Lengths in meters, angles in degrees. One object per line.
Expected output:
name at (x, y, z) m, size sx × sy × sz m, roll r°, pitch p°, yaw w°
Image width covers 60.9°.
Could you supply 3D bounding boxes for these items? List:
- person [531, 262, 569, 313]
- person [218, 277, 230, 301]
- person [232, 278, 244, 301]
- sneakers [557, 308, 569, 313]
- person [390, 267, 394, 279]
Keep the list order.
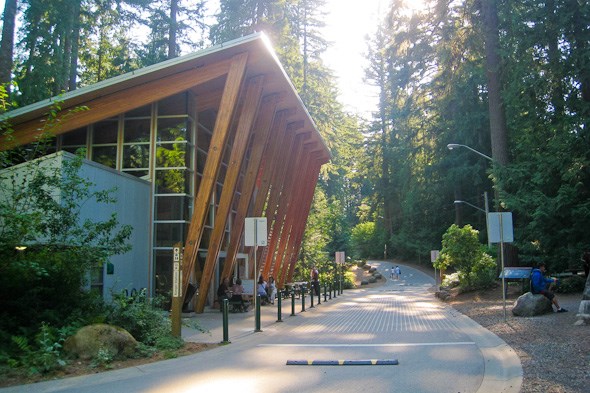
person at (10.222, 3.703, 20.439) m, size 1.149 × 2.023 × 0.951 m, roll -1°, pitch -9°, yaw -8°
person at (-3.743, 4.784, 26.131) m, size 0.523 × 1.116 × 1.681 m, roll -2°, pitch -11°, yaw 1°
person at (-2.979, 4.843, 25.951) m, size 0.552 × 1.098 × 0.772 m, roll -1°, pitch -10°, yaw -9°
sneakers at (10.819, 4.550, 20.113) m, size 0.516 × 0.248 × 0.198 m, roll 1°, pitch 0°, yaw 0°
person at (11.845, 9.268, 60.485) m, size 0.472 × 1.263 × 1.487 m, roll -4°, pitch -11°, yaw 10°
